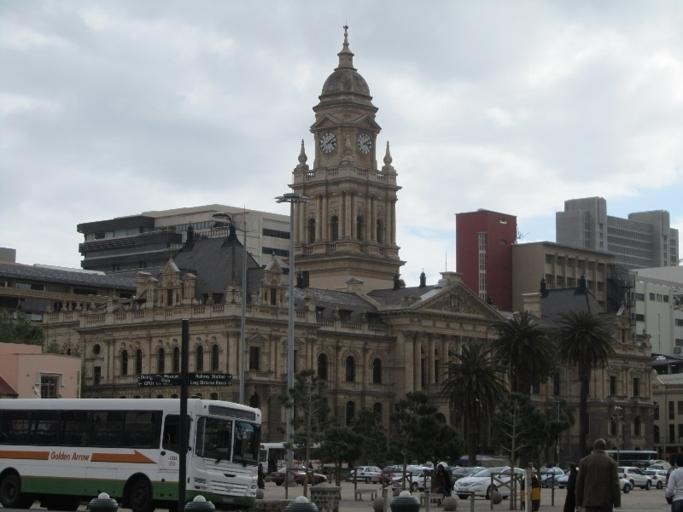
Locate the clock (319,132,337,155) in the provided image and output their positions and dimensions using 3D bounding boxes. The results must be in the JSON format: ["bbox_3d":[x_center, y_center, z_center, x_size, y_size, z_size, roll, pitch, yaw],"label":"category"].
[{"bbox_3d":[-1.139,-11.480,145.447,1.942,2.007,0.229,-16,-8,38],"label":"clock"}]

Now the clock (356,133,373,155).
[{"bbox_3d":[2.630,-11.425,145.812,0.625,2.001,2.077,-11,-17,43],"label":"clock"}]
